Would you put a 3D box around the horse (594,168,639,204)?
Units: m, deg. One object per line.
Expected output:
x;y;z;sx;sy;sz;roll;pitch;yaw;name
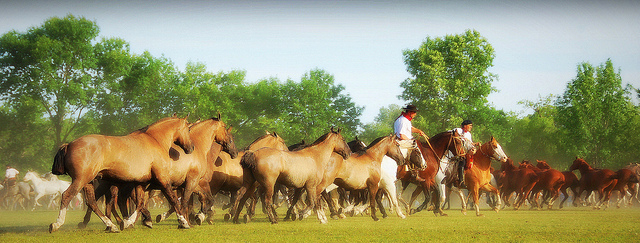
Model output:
42.859;8.585;83.811;9.967;5.416;2.599;-1;-3;0;horse

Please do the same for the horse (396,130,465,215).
15.271;6.135;76.095;6.145;9.725;2.651;-3;-14;6;horse

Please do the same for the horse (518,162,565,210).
36.322;8.529;83.743;12.745;6.244;2.732;2;-6;5;horse
